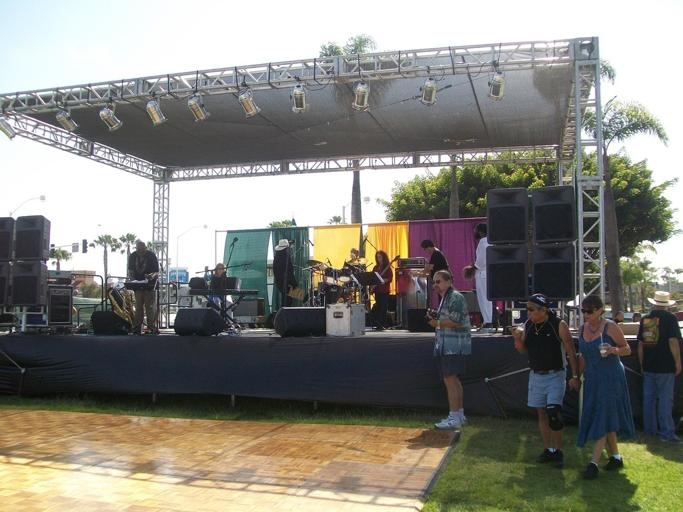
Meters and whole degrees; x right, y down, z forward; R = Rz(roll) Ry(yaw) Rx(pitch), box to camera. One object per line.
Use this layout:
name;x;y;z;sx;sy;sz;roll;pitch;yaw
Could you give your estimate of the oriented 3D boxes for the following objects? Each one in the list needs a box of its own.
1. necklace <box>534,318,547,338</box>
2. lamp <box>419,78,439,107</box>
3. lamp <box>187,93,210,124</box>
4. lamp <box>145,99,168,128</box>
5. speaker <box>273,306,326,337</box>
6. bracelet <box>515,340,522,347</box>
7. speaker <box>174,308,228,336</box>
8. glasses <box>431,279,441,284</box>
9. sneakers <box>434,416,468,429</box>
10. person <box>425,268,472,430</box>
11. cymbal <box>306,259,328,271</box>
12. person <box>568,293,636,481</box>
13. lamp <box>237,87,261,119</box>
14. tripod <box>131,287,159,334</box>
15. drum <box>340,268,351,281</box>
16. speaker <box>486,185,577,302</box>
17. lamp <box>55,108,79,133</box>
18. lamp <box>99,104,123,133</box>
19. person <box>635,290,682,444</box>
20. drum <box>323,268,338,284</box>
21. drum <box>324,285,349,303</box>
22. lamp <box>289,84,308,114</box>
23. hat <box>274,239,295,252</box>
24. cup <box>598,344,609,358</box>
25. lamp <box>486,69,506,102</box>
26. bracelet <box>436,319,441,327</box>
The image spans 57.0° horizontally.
necklace;2.368;0.868;7.531;0.110;0.169;0.037;4;0;41
lamp;1.681;-3.190;12.162;0.280;0.507;0.551;0;3;5
lamp;-2.943;-3.078;13.062;0.326;0.572;1.137;-1;3;-11
lamp;-3.915;-3.060;13.406;0.340;0.404;0.374;-39;9;-27
speaker;-0.659;1.065;10.200;0.822;0.462;0.190;-1;3;-8
bracelet;2.178;1.078;7.753;0.068;0.074;0.070;-2;-9;16
speaker;-2.399;1.007;10.790;0.561;0.434;0.494;1;20;11
glasses;1.363;0.366;9.079;0.139;0.098;0.188;0;-6;24
sneakers;1.522;2.314;8.893;0.496;0.243;0.179;3;-6;-3
person;1.518;1.306;8.791;0.540;2.231;0.847;0;3;17
cymbal;-0.501;0.176;12.722;0.309;0.187;0.731;-1;3;-7
person;3.080;1.489;7.361;0.587;2.087;0.742;1;3;23
lamp;-1.891;-3.181;12.987;0.289;0.224;0.548;-13;-49;23
tripod;-3.707;0.987;11.976;0.408;0.824;1.037;-2;3;-17
drum;0.095;0.359;12.016;0.177;0.240;0.271;-1;3;0
speaker;2.761;-0.163;9.179;1.417;2.223;0.731;-2;-8;18
lamp;-5.828;-2.955;13.537;0.361;0.261;0.614;-4;-28;13
lamp;-4.954;-2.994;13.574;0.347;0.335;0.393;16;-28;41
person;4.367;1.491;8.688;0.521;1.965;0.496;1;3;28
drum;-0.208;0.396;12.068;0.322;0.405;0.266;-2;-12;-5
drum;-0.084;0.721;12.074;0.481;0.301;0.435;-1;3;-3
lamp;-0.819;-3.115;12.537;0.430;0.534;0.460;0;-1;1
hat;-1.228;-0.233;13.774;0.387;0.205;0.472;6;10;32
cup;2.963;1.058;7.104;0.123;0.139;0.096;-2;3;-31
lamp;2.940;-3.234;11.997;0.285;0.529;0.940;0;3;13
bracelet;1.310;0.904;8.470;0.026;0.080;0.056;-2;7;-19
